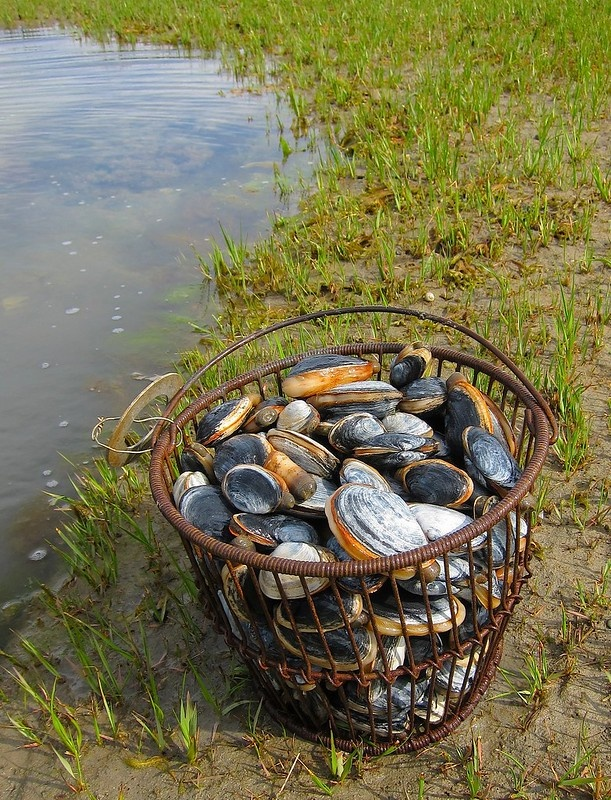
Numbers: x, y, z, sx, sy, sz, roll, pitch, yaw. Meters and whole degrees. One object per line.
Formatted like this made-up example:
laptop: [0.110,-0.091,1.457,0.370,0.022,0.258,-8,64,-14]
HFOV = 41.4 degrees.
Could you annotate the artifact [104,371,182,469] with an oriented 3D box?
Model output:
artifact: [-0.532,0.098,2.730,0.267,0.338,0.373,-7,28,-4]
